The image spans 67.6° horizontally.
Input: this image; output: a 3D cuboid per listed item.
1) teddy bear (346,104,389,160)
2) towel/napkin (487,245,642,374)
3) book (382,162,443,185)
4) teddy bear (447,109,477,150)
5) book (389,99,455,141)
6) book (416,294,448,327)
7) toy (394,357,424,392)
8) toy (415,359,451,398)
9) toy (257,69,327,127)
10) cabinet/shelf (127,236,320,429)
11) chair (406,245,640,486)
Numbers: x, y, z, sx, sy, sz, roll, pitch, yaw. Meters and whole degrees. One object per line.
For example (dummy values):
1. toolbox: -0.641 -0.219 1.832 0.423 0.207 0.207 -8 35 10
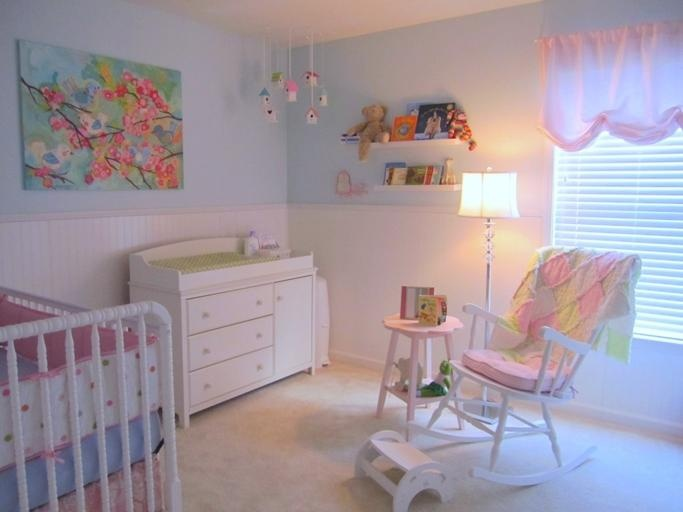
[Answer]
1. teddy bear: 0.246 -1.065 4.327 0.378 0.455 0.261 5 11 14
2. towel/napkin: 1.449 0.273 3.238 0.775 0.820 0.290 14 -5 38
3. book: 0.573 -0.661 4.171 0.326 0.233 0.077 3 -6 22
4. teddy bear: 0.934 -0.975 3.938 0.226 0.313 0.140 2 14 11
5. book: 0.661 -1.086 4.079 0.395 0.271 0.142 1 2 34
6. book: 0.602 0.346 3.424 0.186 0.270 0.184 4 7 22
7. toy: 0.445 0.795 3.506 0.189 0.232 0.243 1 2 17
8. toy: 0.629 0.843 3.473 0.255 0.266 0.108 2 15 -17
9. toy: -0.427 -1.399 4.442 0.534 0.486 0.709 -2 14 -7
10. cabinet/shelf: -0.918 0.524 4.119 0.716 1.180 1.276 9 13 44
11. chair: 1.111 0.641 3.228 1.084 1.426 0.766 2 6 -20
